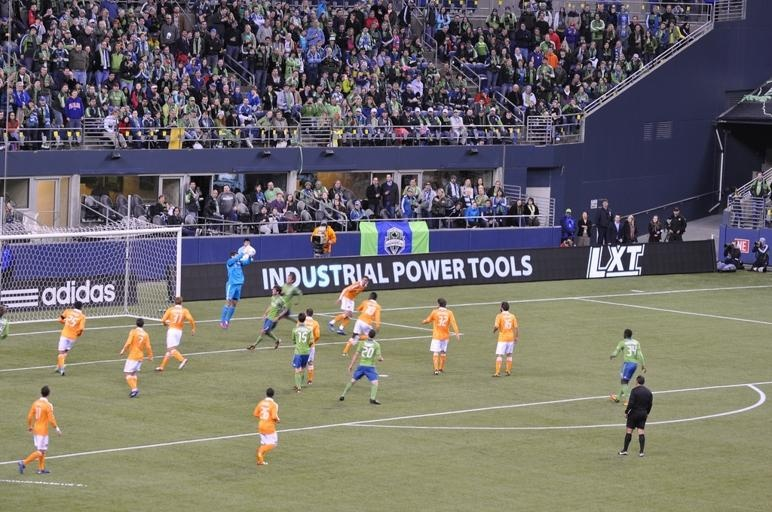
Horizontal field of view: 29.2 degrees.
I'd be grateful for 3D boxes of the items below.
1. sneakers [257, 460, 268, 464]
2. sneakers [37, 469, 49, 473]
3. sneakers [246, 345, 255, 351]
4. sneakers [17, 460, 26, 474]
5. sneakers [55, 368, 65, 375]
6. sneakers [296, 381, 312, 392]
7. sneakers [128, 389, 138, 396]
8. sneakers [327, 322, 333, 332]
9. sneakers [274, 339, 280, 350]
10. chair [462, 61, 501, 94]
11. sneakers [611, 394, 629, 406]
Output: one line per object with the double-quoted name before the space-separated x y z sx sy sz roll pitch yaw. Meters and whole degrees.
"sneakers" -3.521 5.896 41.916 0.253 0.170 0.092 -5 12 -26
"sneakers" -9.569 6.043 41.133 0.320 0.147 0.108 -3 7 -28
"sneakers" -4.639 3.178 50.488 0.366 0.172 0.137 2 -1 -15
"sneakers" -10.098 5.872 40.883 0.170 0.454 0.203 4 18 9
"sneakers" -10.503 3.723 47.562 0.265 0.243 0.355 -1 15 -11
"sneakers" -2.643 4.179 46.863 0.187 0.271 0.623 3 13 19
"sneakers" -7.853 4.313 45.766 0.332 0.156 0.119 -38 4 39
"sneakers" -1.980 2.584 52.767 0.154 0.375 0.125 -12 36 12
"sneakers" -3.787 3.070 50.728 0.172 0.389 0.143 11 43 2
"chair" 4.640 -8.362 68.968 1.296 1.769 1.472 -1 4 -23
"sneakers" 7.237 4.508 46.403 0.200 0.284 0.648 -7 20 -31
